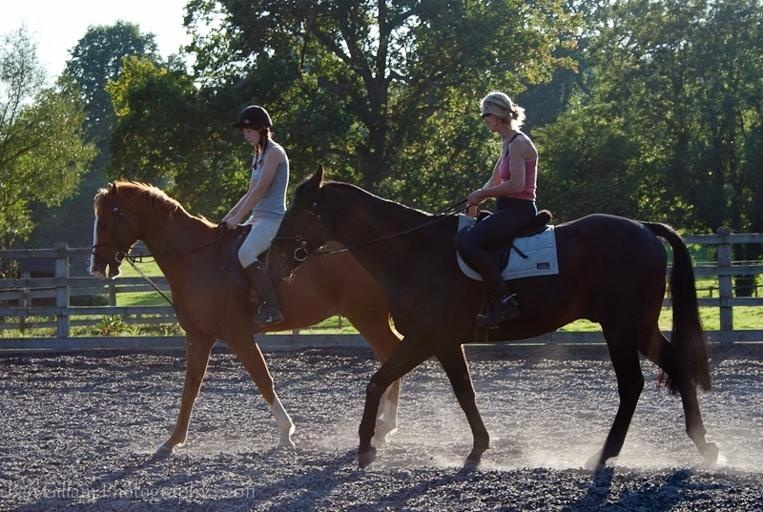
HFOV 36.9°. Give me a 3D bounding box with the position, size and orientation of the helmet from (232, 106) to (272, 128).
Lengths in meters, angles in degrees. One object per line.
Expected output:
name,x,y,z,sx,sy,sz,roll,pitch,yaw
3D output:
helmet,-2.671,-2.919,24.227,0.696,0.354,0.484,5,-2,-26
